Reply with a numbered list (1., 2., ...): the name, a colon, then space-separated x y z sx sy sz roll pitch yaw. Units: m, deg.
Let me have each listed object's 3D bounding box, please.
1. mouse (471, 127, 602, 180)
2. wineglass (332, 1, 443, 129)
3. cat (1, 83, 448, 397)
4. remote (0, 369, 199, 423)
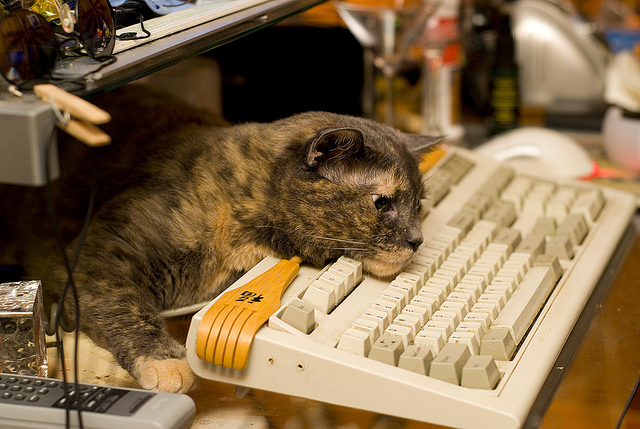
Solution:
1. mouse: 0.575 -0.159 1.541 0.239 0.083 0.175 16 16 12
2. wineglass: 0.167 -0.368 1.617 0.235 0.394 0.249 -19 26 -39
3. cat: -0.326 -0.040 1.169 1.010 0.490 0.355 16 14 25
4. remote: -0.293 0.245 0.796 0.265 0.039 0.074 5 23 8
